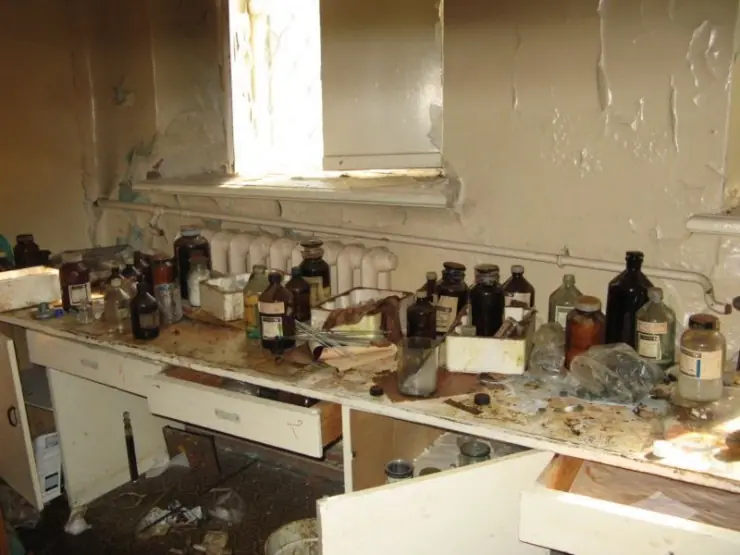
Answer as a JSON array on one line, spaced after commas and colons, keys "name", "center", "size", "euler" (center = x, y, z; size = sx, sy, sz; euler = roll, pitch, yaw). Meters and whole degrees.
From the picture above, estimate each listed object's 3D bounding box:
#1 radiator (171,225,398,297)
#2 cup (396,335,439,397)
[{"name": "radiator", "center": [-0.353, -0.077, 2.780], "size": [1.053, 0.266, 0.194], "euler": [5, 11, 34]}, {"name": "cup", "center": [0.156, 0.268, 1.845], "size": [0.140, 0.166, 0.123], "euler": [-2, 9, -9]}]
